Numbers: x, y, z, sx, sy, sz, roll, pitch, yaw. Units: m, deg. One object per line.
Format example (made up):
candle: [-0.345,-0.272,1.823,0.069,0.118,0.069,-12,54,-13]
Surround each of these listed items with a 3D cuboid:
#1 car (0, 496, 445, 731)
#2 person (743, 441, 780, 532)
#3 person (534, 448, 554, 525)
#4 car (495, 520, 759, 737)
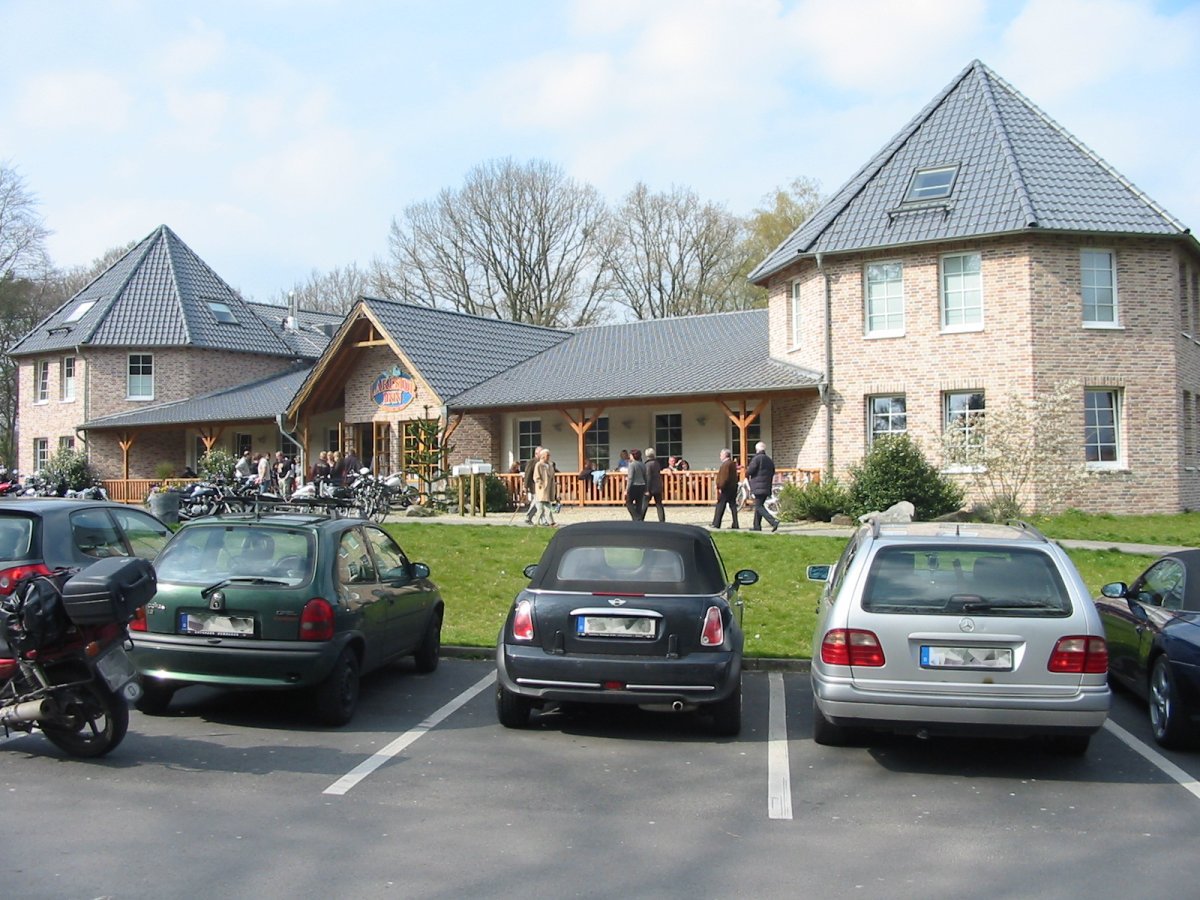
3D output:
car: [-2.773,1.447,10.825,1.758,1.300,3.040,0,-1,6]
person: [3.358,0.826,23.549,0.561,1.785,1.404,1,4,7]
person: [-1.291,0.832,25.465,0.383,1.615,0.879,0,4,-4]
car: [0.392,1.419,11.016,2.194,1.655,3.827,1,4,9]
